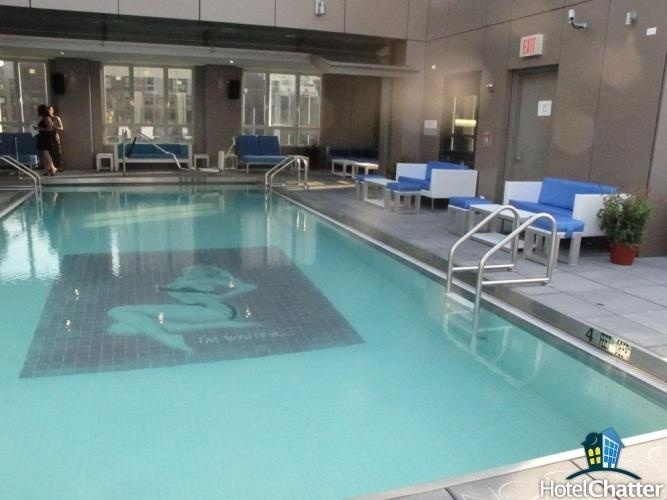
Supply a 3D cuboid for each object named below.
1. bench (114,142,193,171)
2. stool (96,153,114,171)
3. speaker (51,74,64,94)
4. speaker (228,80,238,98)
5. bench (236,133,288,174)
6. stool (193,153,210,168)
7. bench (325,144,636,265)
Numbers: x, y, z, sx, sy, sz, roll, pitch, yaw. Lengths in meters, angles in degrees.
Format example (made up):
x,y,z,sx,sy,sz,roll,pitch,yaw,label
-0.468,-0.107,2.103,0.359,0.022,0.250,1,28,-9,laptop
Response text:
x,y,z,sx,sy,sz,roll,pitch,yaw,label
-6.302,-3.345,16.151,2.450,0.929,1.586,-5,14,-20,bench
-7.938,-3.055,15.823,0.665,0.719,0.680,-4,9,-26,stool
-9.086,-5.477,15.004,0.403,0.670,0.220,-2,13,-6,speaker
-3.612,-5.826,16.512,0.442,0.685,0.232,-5,14,-19,speaker
-2.505,-3.333,15.644,1.542,1.168,1.499,-6,26,-22,bench
-4.901,-3.315,16.889,0.520,0.536,0.284,-3,10,-25,stool
2.593,-0.981,8.700,2.995,1.089,6.638,-3,14,-12,bench
